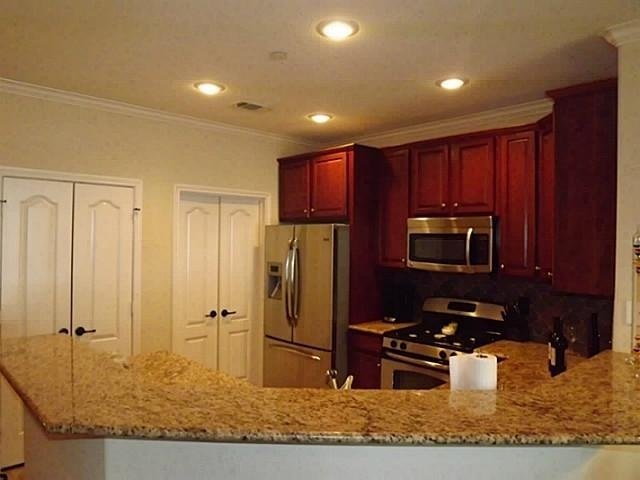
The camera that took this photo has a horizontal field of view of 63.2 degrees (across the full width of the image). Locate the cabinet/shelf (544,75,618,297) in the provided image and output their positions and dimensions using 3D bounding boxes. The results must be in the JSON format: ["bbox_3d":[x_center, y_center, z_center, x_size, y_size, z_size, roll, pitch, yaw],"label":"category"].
[{"bbox_3d":[1.509,-0.337,3.354,0.296,1.257,0.434,-6,6,-12],"label":"cabinet/shelf"}]

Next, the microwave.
[{"bbox_3d":[1.119,0.025,4.300,0.745,0.446,0.481,3,10,43],"label":"microwave"}]

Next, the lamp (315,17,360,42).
[{"bbox_3d":[0.097,-1.175,2.945,0.240,0.066,0.200,1,5,0],"label":"lamp"}]

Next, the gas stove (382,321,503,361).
[{"bbox_3d":[0.941,0.812,4.121,0.756,0.180,0.606,6,8,44],"label":"gas stove"}]

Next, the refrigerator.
[{"bbox_3d":[-0.132,0.631,4.692,0.959,1.559,0.310,6,7,39],"label":"refrigerator"}]

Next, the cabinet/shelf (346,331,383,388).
[{"bbox_3d":[0.373,1.009,4.364,0.111,0.472,0.412,-3,7,-37],"label":"cabinet/shelf"}]

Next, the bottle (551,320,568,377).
[{"bbox_3d":[1.396,0.609,3.039,0.098,0.356,0.285,4,6,28],"label":"bottle"}]

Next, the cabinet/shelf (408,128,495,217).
[{"bbox_3d":[1.134,-0.465,4.293,0.743,0.609,0.368,-1,-1,32],"label":"cabinet/shelf"}]

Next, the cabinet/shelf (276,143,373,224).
[{"bbox_3d":[0.044,-0.498,5.020,0.396,0.657,1.088,0,0,-40],"label":"cabinet/shelf"}]

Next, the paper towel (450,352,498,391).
[{"bbox_3d":[0.618,0.503,2.129,0.159,0.159,0.169,-1,2,-16],"label":"paper towel"}]

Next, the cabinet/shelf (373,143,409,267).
[{"bbox_3d":[0.649,-0.281,4.571,0.084,1.030,0.335,-3,7,-35],"label":"cabinet/shelf"}]
